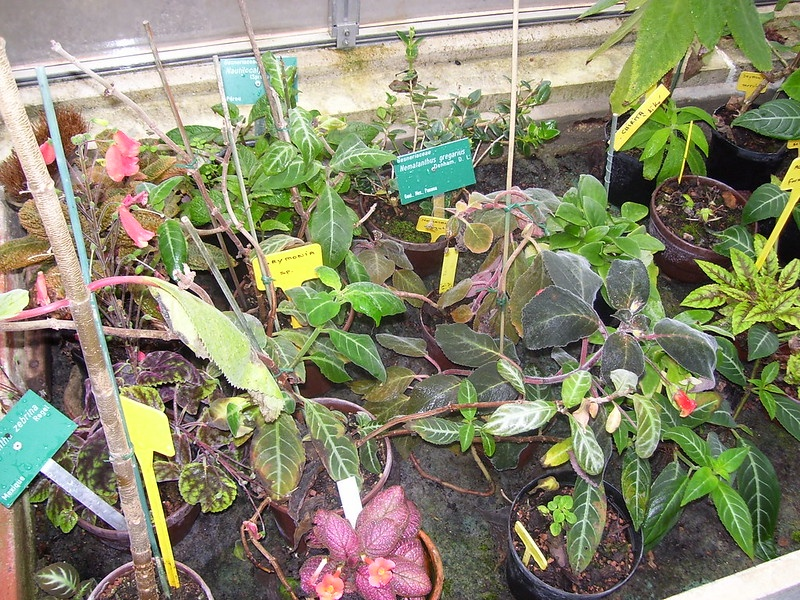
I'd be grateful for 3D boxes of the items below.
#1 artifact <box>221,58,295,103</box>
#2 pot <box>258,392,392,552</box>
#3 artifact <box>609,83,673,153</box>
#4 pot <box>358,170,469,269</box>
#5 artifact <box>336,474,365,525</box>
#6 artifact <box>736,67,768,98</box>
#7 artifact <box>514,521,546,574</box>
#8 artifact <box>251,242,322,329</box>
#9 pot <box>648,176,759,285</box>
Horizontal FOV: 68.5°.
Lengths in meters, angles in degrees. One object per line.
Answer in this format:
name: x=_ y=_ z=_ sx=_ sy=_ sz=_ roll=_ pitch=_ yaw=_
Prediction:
artifact: x=-0.646 y=-0.888 z=2.383 sx=0.174 sy=0.184 sz=0.126 roll=-3 pitch=27 yaw=11
pot: x=-0.230 y=0.533 z=1.976 sx=0.460 sy=0.361 sz=0.492 roll=1 pitch=46 yaw=-1
artifact: x=1.057 y=-0.803 z=2.578 sx=0.206 sy=0.264 sz=0.164 roll=1 pitch=28 yaw=18
pot: x=0.009 y=-0.329 z=2.856 sx=0.448 sy=0.344 sz=0.473 roll=1 pitch=59 yaw=-1
artifact: x=-0.156 y=0.620 z=1.820 sx=0.061 sy=0.165 sz=0.174 roll=-11 pitch=27 yaw=-7
artifact: x=1.819 y=-1.113 z=3.021 sx=0.123 sy=0.132 sz=0.287 roll=8 pitch=31 yaw=30
artifact: x=0.420 y=0.791 z=1.882 sx=0.040 sy=0.137 sz=0.132 roll=-12 pitch=15 yaw=-29
artifact: x=-0.357 y=-0.057 z=2.009 sx=0.200 sy=0.201 sz=0.054 roll=-16 pitch=39 yaw=-14
pot: x=1.380 y=-0.313 z=2.670 sx=0.387 sy=0.279 sz=0.388 roll=5 pitch=48 yaw=-6
